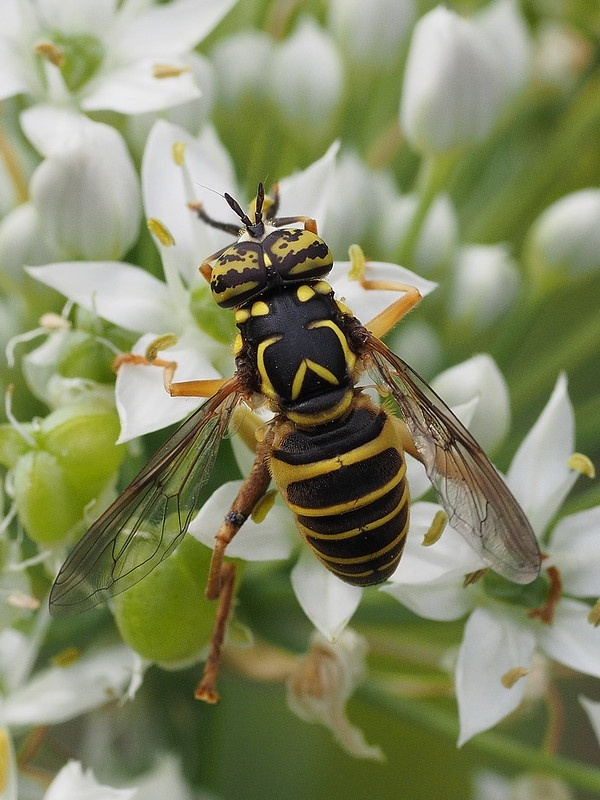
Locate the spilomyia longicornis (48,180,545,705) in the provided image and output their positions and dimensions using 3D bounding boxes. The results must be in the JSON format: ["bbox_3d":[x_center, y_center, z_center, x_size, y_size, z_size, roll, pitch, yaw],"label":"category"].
[{"bbox_3d":[-0.013,0.029,0.555,0.391,0.108,0.306,-13,81,-1],"label":"spilomyia longicornis"}]
